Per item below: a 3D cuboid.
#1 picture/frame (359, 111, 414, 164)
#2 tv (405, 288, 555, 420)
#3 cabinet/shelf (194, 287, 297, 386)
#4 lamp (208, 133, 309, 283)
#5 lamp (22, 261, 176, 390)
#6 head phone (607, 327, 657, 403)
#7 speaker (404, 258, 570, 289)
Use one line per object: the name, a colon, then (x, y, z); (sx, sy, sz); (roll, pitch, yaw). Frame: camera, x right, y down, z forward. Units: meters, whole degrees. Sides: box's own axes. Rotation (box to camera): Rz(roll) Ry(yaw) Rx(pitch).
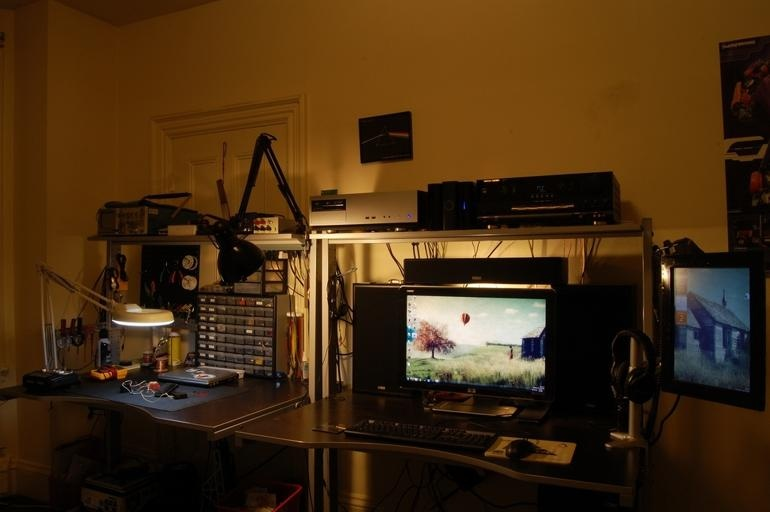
picture/frame: (0.018, -0.734, 3.977); (0.326, 0.279, 0.045); (0, 2, 22)
tv: (0.518, 0.501, 3.361); (0.655, 0.525, 0.218); (0, -5, 16)
cabinet/shelf: (-0.864, 0.513, 4.029); (0.574, 0.486, 0.205); (1, 0, 18)
lamp: (-0.773, -0.324, 3.997); (0.601, 1.012, 0.745); (1, -2, -14)
lamp: (-1.768, 0.418, 4.271); (1.167, 1.033, 0.606); (-2, 2, 5)
head phone: (1.189, 0.510, 3.056); (0.196, 0.344, 0.311); (0, -2, 25)
speaker: (0.544, 0.081, 3.575); (0.877, 0.156, 0.181); (0, -2, 23)
